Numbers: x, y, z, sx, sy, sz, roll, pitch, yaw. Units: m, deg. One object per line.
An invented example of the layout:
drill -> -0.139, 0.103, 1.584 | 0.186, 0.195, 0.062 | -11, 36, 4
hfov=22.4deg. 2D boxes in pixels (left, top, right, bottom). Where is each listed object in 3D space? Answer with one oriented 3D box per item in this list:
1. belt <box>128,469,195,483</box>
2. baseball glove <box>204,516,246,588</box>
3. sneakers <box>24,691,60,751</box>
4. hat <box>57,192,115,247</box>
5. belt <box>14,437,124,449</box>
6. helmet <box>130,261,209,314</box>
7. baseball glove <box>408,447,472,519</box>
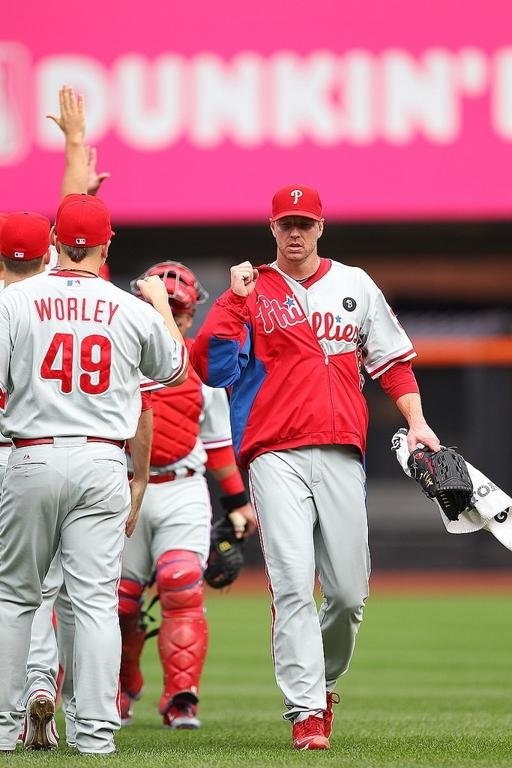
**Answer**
belt -> -0.388, 0.370, 5.158 | 0.132, 0.036, 0.134 | -1, 0, 38
baseball glove -> -0.156, 0.754, 5.741 | 0.087, 0.292, 0.207 | 0, -8, -32
sneakers -> -0.736, 1.148, 4.394 | 0.090, 0.211, 0.091 | -1, 21, -10
hat -> -0.568, -0.537, 4.241 | 0.131, 0.111, 0.202 | 1, 25, -3
belt -> -0.581, 0.187, 4.047 | 0.343, 0.039, 0.144 | 0, -3, -10
helmet -> -0.336, -0.397, 5.538 | 0.204, 0.275, 0.206 | 2, -31, 3
baseball glove -> 0.620, 0.303, 4.460 | 0.175, 0.109, 0.271 | 5, 31, -12
